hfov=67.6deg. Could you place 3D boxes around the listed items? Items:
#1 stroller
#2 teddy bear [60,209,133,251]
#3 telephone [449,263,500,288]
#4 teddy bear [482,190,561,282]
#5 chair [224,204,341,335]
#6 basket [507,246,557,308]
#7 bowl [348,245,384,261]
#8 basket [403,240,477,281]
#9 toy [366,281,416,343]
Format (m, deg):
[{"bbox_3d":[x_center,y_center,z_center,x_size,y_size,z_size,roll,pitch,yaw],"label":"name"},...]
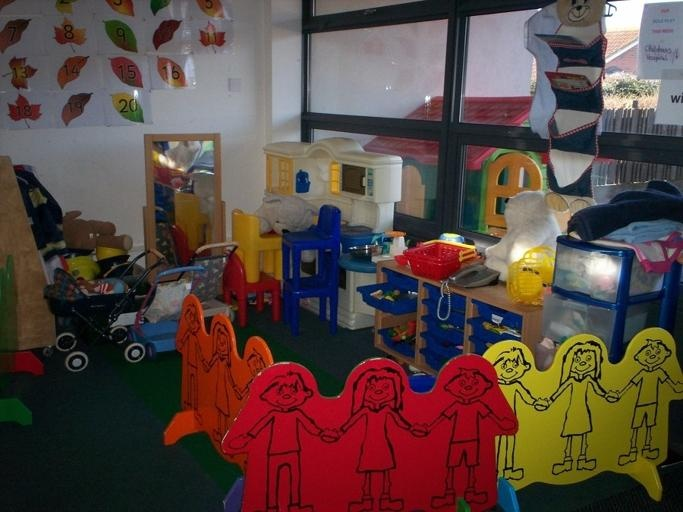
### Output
[{"bbox_3d":[-1.376,0.270,3.694,1.333,0.931,0.685,-1,16,-31],"label":"stroller"},{"bbox_3d":[-1.907,-0.142,4.056,0.520,0.380,0.398,5,-1,22],"label":"teddy bear"},{"bbox_3d":[0.740,0.077,2.802,0.192,0.067,0.139,-11,21,-27],"label":"telephone"},{"bbox_3d":[0.977,-0.143,2.982,0.404,0.597,0.561,6,1,5],"label":"teddy bear"},{"bbox_3d":[-0.351,0.073,3.924,0.860,0.918,0.617,4,11,28],"label":"chair"},{"bbox_3d":[0.955,0.095,2.563,0.220,0.328,0.307,1,2,-9],"label":"basket"},{"bbox_3d":[0.176,-0.030,3.753,0.146,0.067,0.120,7,7,29],"label":"bowl"},{"bbox_3d":[0.592,0.002,3.018,0.250,0.115,0.309,13,26,38],"label":"basket"},{"bbox_3d":[0.291,0.350,3.206,0.306,0.121,0.352,-11,26,-35],"label":"toy"}]
